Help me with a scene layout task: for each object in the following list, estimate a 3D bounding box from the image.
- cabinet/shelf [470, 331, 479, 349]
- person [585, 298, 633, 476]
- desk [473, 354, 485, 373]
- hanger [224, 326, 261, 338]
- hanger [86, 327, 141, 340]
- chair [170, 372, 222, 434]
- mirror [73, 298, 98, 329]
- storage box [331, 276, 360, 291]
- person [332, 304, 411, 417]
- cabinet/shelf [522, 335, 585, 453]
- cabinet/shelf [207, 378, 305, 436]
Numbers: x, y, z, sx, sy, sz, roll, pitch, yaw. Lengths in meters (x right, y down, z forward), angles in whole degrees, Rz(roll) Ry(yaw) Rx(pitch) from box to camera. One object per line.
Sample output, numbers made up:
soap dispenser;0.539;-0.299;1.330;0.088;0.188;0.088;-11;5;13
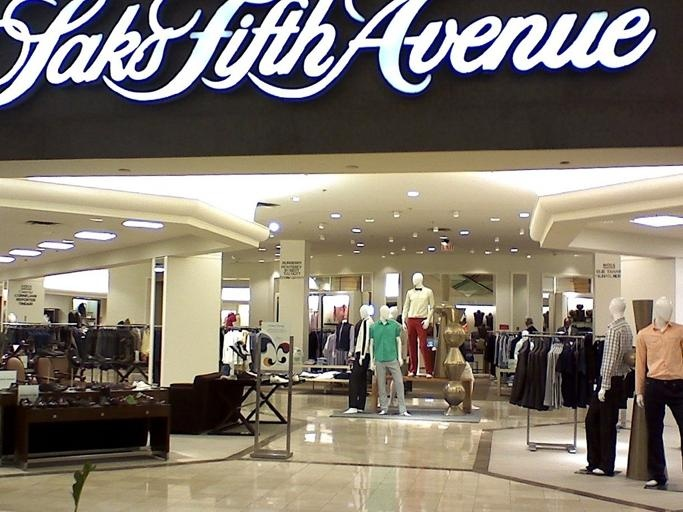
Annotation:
cabinet/shelf;5.048;3.209;20.862;0.297;0.649;0.647;-1;-7;12
person;3.196;1.667;6.588;0.496;1.871;0.665;0;-6;5
desk;5.189;4.069;20.918;0.454;0.686;0.652;-1;-7;13
hanger;-2.764;2.109;15.270;1.107;0.294;0.716;0;-2;8
hanger;-6.247;2.081;15.200;1.826;0.287;0.642;-1;-7;18
chair;-2.330;2.450;9.001;0.719;1.098;1.035;0;-5;6
mirror;-9.988;2.245;21.487;0.786;1.653;1.132;1;0;-2
storage box;0.186;1.082;22.018;1.008;0.761;0.573;0;2;12
person;0.838;2.065;10.988;1.032;2.112;1.117;0;-6;7
cabinet/shelf;3.058;1.676;7.954;0.471;1.060;1.193;4;-7;-30
cabinet/shelf;-1.691;2.594;10.234;1.216;0.887;4.676;2;-7;-8
